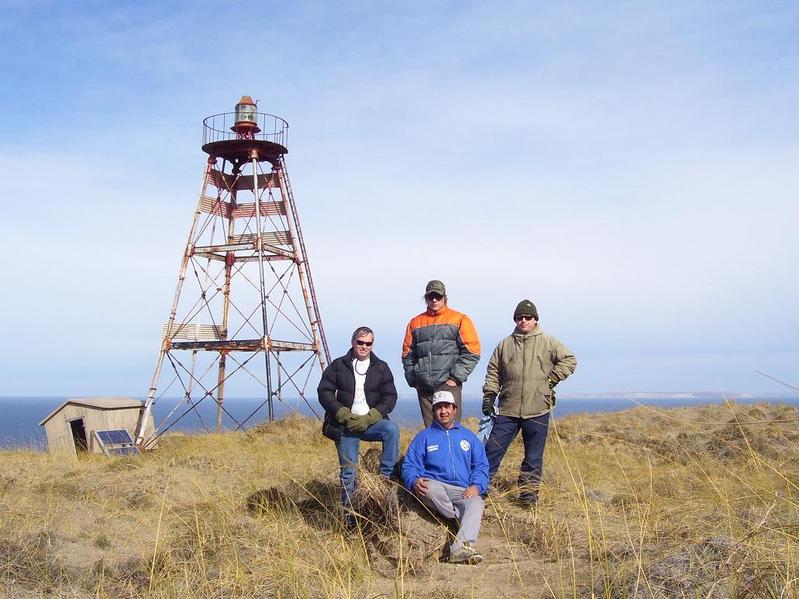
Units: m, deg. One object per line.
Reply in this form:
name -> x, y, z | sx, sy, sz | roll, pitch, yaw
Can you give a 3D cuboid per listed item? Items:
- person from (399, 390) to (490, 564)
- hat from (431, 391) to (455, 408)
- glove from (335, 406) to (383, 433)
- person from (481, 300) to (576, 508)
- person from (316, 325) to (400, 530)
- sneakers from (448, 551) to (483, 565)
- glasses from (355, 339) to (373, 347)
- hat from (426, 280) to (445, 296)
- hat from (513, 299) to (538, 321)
person -> 0.730, 2.128, 10.504 | 0.924, 1.956, 1.227 | 3, -3, -42
hat -> 0.556, 1.256, 10.667 | 0.222, 0.181, 0.385 | 0, -12, 4
glove -> -0.522, 1.569, 11.012 | 0.603, 0.321, 0.194 | 1, -2, -2
person -> 1.776, 1.422, 11.895 | 1.168, 2.813, 0.590 | 1, -2, 7
person -> -0.542, 1.624, 11.090 | 1.085, 2.503, 0.624 | 1, -2, -2
sneakers -> 0.776, 2.990, 9.867 | 0.371, 0.177, 0.146 | -6, -9, 21
glasses -> -0.469, 0.573, 11.116 | 0.206, 0.092, 0.105 | 1, -2, -4
hat -> 0.503, -0.127, 11.783 | 0.249, 0.237, 0.374 | 0, -13, 8
hat -> 1.591, 0.150, 10.520 | 0.203, 0.211, 0.295 | 3, -16, 3
